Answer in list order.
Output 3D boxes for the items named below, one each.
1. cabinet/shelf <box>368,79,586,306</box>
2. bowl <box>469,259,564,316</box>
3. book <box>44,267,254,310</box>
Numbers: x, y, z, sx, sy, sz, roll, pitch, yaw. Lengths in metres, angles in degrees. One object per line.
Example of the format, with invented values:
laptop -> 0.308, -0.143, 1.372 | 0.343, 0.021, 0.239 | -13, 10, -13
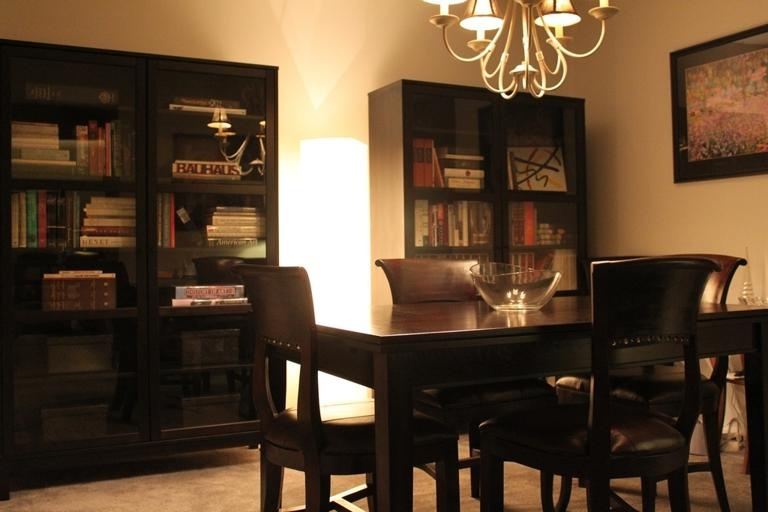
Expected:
cabinet/shelf -> 0.587, -0.456, 4.555 | 1.682, 2.009, 0.682 | 0, -1, -27
bowl -> 0.620, 0.160, 3.114 | 0.314, 0.169, 0.285 | -4, -2, 6
book -> -1.488, 0.199, 3.947 | 1.061, 0.242, 0.103 | -2, 5, -17
